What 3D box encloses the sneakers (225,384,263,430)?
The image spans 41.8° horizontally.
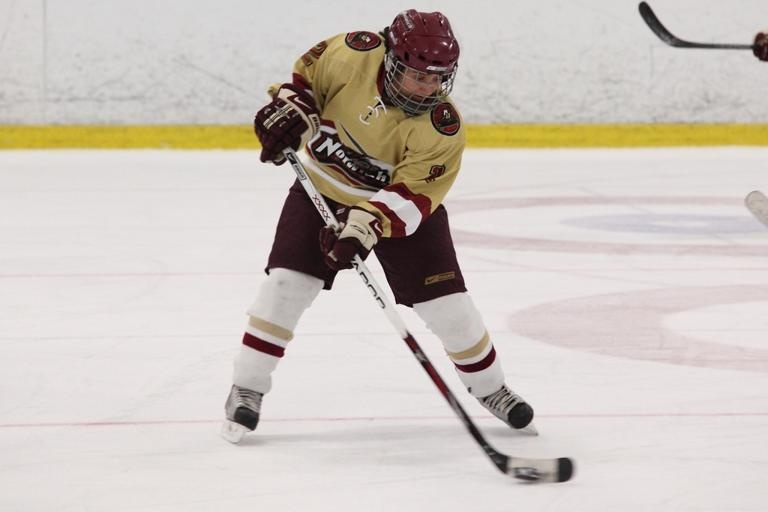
[{"bbox_3d":[-0.602,0.641,4.288,0.147,0.165,0.119,8,17,-8],"label":"sneakers"}]

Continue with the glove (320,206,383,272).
[{"bbox_3d":[-0.143,-0.077,4.192,0.127,0.263,0.255,24,25,-54],"label":"glove"}]

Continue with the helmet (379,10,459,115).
[{"bbox_3d":[0.146,-0.821,4.299,0.269,0.434,0.210,25,23,38],"label":"helmet"}]

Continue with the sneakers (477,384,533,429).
[{"bbox_3d":[0.527,0.646,4.440,0.140,0.095,0.300,34,0,-39],"label":"sneakers"}]

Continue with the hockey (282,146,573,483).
[{"bbox_3d":[0.169,0.317,4.592,2.273,0.202,0.290,43,10,24],"label":"hockey"}]

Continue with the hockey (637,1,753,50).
[{"bbox_3d":[2.018,-1.537,6.881,0.585,0.270,2.710,12,15,12],"label":"hockey"}]
